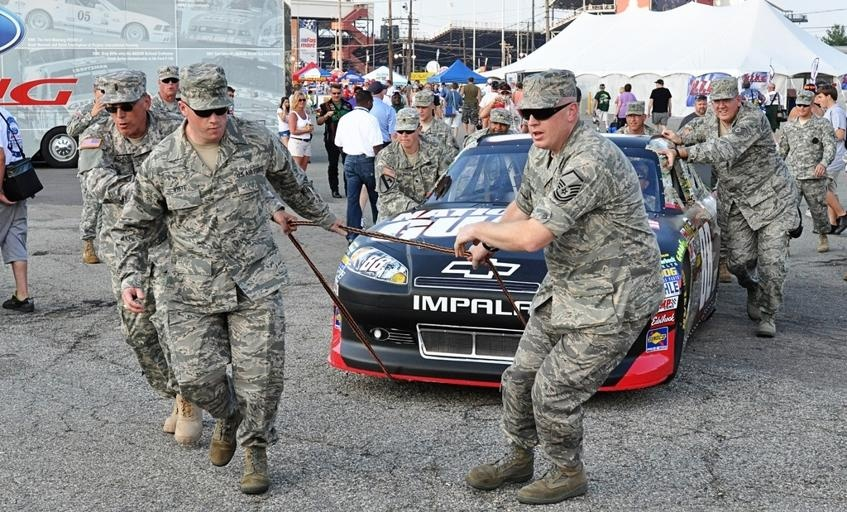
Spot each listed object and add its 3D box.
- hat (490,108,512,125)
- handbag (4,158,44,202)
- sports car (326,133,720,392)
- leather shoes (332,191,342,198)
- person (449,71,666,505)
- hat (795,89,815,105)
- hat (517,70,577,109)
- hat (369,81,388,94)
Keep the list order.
[{"bbox_3d":[0.977,-1.758,9.631,0.329,0.148,0.462,6,5,6],"label":"hat"},{"bbox_3d":[-4.794,-0.908,9.108,0.256,0.479,0.429,4,19,5],"label":"handbag"},{"bbox_3d":[0.489,0.013,6.828,2.148,1.345,3.754,3,10,20],"label":"sports car"},{"bbox_3d":[-1.841,-1.295,16.232,0.101,0.098,0.242,-5,7,-20],"label":"leather shoes"},{"bbox_3d":[0.978,0.255,5.332,1.273,2.930,0.877,8,20,17],"label":"person"},{"bbox_3d":[6.009,-2.477,11.982,0.221,0.119,0.364,7,24,25],"label":"hat"},{"bbox_3d":[0.860,-1.131,5.228,0.345,0.171,0.265,-10,13,-29],"label":"hat"},{"bbox_3d":[-0.899,-3.239,14.642,0.266,0.141,0.400,5,25,7],"label":"hat"}]
